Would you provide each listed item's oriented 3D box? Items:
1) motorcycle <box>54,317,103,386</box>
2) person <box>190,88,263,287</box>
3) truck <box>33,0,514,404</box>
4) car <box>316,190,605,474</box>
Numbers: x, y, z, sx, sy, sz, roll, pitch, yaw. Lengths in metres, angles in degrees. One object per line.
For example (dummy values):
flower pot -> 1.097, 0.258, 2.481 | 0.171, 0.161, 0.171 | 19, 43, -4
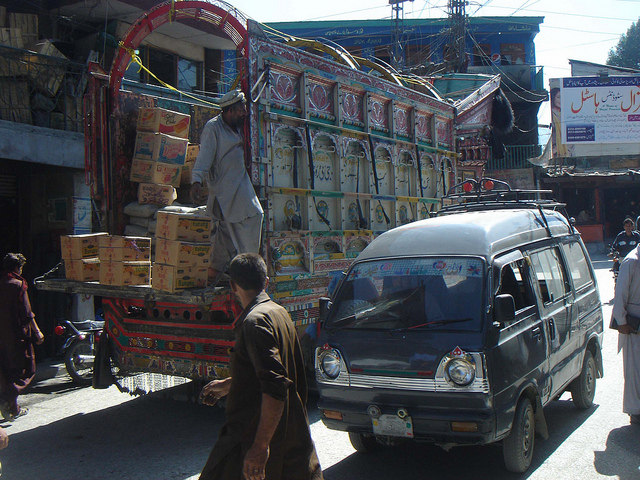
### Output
motorcycle -> -4.059, 1.889, 11.208 | 1.340, 1.009, 0.812 | 4, -7, -28
person -> -1.211, -0.716, 8.691 | 0.884, 2.470, 0.542 | -3, 7, -7
truck -> -0.794, -0.724, 12.685 | 5.497, 6.170, 9.287 | -1, 0, 38
car -> 1.833, 1.122, 8.076 | 3.785, 2.863, 1.875 | -8, 9, -37
